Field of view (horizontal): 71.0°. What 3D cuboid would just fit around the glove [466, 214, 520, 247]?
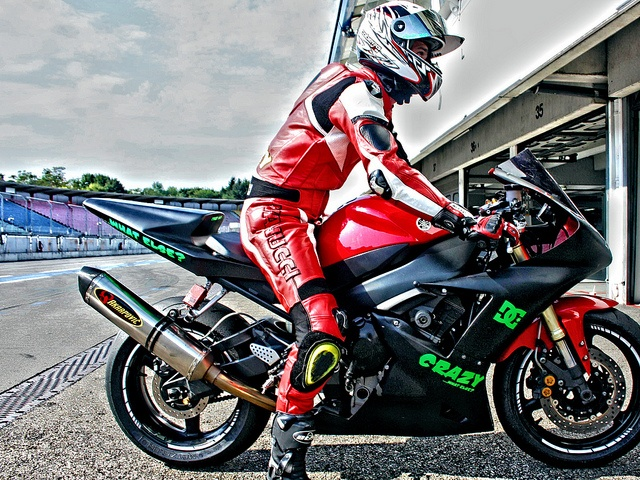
[{"bbox_3d":[0.984,-0.059,2.612,0.277,0.098,0.178,-6,10,14],"label":"glove"}]

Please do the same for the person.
[{"bbox_3d":[0.172,-0.068,2.728,1.289,2.842,0.690,-4,6,-11],"label":"person"}]
